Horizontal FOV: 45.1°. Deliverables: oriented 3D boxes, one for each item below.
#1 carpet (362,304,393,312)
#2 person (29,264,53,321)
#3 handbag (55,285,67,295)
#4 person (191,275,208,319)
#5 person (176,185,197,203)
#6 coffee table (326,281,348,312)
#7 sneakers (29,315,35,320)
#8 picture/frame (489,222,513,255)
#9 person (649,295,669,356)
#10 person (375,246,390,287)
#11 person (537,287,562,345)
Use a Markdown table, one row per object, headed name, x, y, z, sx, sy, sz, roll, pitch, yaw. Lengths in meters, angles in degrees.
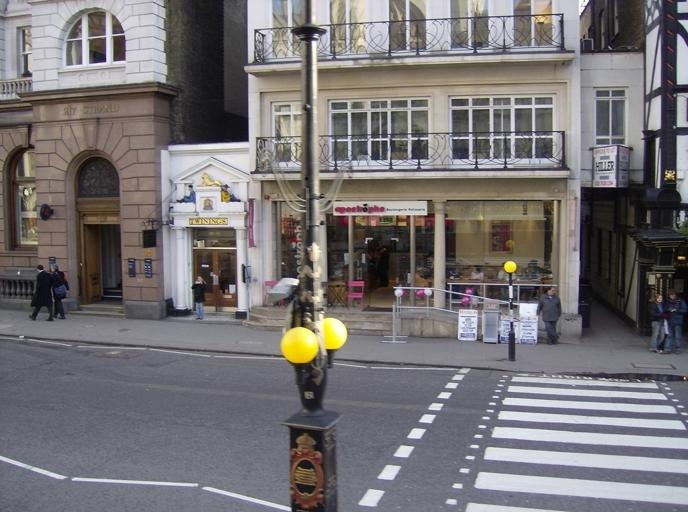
| name | x | y | z | sx | sy | sz | roll | pitch | yaw |
| --- | --- | --- | --- | --- | --- | --- | --- | --- | --- |
| carpet | 1.272 | 1.944 | 30.737 | 1.032 | 0.193 | 0.629 | -1 | 2 | 1 |
| person | -11.384 | 1.404 | 31.471 | 0.808 | 2.092 | 1.425 | -2 | 1 | -22 |
| handbag | -10.643 | 1.366 | 31.586 | 0.281 | 0.461 | 0.664 | -1 | 2 | 3 |
| person | -5.494 | 1.634 | 31.919 | 0.514 | 1.607 | 1.477 | -1 | 1 | -10 |
| person | -5.966 | -2.361 | 31.881 | 0.669 | 0.851 | 0.550 | 1 | 0 | 1 |
| coffee table | -0.173 | 1.569 | 31.445 | 1.012 | 1.123 | 0.784 | 1 | 3 | 16 |
| sneakers | -11.710 | 2.342 | 31.428 | 0.158 | 0.075 | 0.232 | 1 | 6 | -20 |
| picture/frame | 5.712 | -0.660 | 29.987 | 1.042 | 1.579 | 0.157 | 0 | 3 | 10 |
| person | 9.935 | 2.159 | 26.237 | 0.517 | 1.789 | 0.375 | -1 | 1 | 20 |
| person | 1.507 | 0.437 | 30.944 | 0.463 | 1.479 | 0.182 | -1 | 1 | 2 |
| person | 6.815 | 2.025 | 27.513 | 0.665 | 1.845 | 0.450 | -1 | 1 | 7 |
